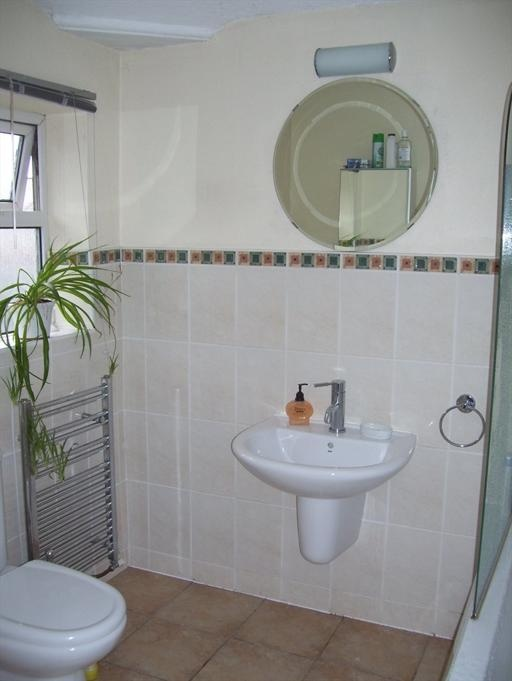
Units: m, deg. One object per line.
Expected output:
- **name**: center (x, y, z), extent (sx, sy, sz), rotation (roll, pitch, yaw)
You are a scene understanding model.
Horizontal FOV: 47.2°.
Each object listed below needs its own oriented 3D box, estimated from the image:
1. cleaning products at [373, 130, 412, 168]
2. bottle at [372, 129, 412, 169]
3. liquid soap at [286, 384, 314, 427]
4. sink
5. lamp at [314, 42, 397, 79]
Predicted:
- **cleaning products**: center (0.437, -0.608, 1.856), extent (0.092, 0.108, 0.033), rotation (4, 9, 25)
- **bottle**: center (0.435, -0.609, 1.856), extent (0.095, 0.112, 0.035), rotation (4, 9, 25)
- **liquid soap**: center (0.159, 0.234, 2.088), extent (0.102, 0.184, 0.051), rotation (5, 15, 19)
- **sink**: center (0.212, 0.404, 1.878), extent (0.568, 0.178, 0.450), rotation (2, 5, 18)
- **lamp**: center (0.308, -0.877, 1.846), extent (0.251, 0.091, 0.086), rotation (3, 5, 25)
